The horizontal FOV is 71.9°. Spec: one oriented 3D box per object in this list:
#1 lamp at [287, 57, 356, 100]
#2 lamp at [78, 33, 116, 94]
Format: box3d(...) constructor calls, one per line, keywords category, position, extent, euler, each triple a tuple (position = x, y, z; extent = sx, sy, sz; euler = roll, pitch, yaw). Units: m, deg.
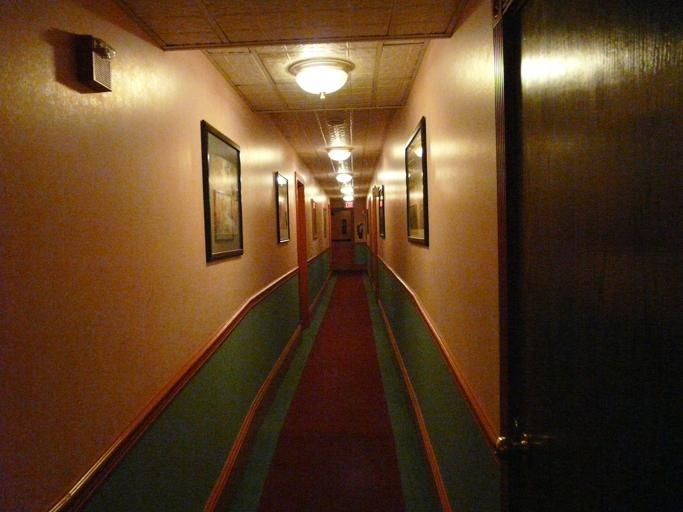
box3d(category="lamp", position=(-0.142, -1.229, 3.206), extent=(0.237, 0.123, 0.253), euler=(-1, 2, 12))
box3d(category="lamp", position=(-0.967, -0.758, 1.860), extent=(0.077, 0.203, 0.142), euler=(1, 6, 24))
